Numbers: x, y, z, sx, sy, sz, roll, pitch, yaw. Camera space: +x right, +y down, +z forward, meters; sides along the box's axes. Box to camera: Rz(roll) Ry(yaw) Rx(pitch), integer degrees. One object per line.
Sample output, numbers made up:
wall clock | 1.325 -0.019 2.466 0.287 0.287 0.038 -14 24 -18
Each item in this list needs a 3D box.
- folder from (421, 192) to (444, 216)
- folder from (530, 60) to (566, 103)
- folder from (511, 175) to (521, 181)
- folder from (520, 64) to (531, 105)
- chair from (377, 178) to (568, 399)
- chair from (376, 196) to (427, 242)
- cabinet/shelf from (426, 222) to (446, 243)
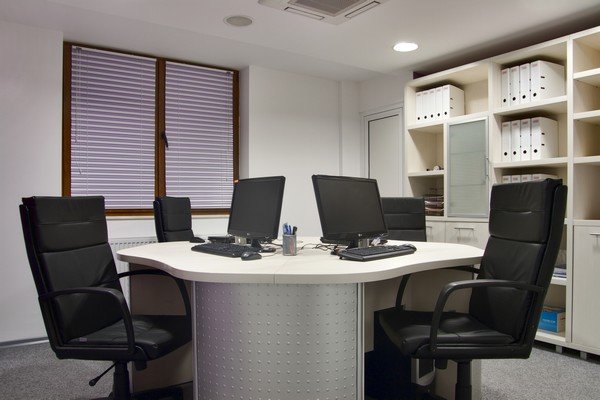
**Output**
folder | 1.660 0.059 5.585 0.162 0.213 0.301 -1 0 -29
folder | 2.745 -1.302 4.932 0.450 0.421 0.130 -4 3 -19
folder | 2.445 -0.245 5.057 0.104 0.098 0.054 0 0 19
folder | 2.496 -1.290 4.964 0.048 0.412 0.119 -6 4 -45
chair | 1.342 0.653 4.150 1.521 2.532 1.384 3 -7 -7
chair | 1.105 0.203 4.889 0.487 0.697 0.485 0 -4 11
cabinet/shelf | 1.686 0.389 5.521 0.112 0.232 0.242 1 -3 -40
